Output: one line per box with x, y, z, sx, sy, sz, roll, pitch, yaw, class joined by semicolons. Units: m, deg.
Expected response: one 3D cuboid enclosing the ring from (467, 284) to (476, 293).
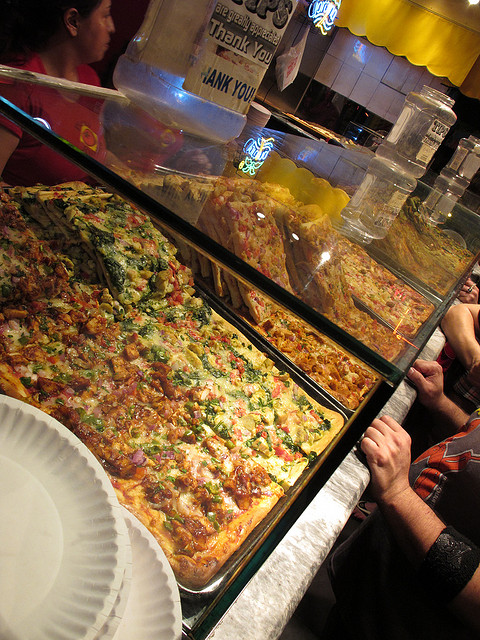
1.479;-0.199;2.875;0.029;0.082;0.029;43;-24;25;ring

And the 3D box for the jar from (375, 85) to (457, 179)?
0.582;-0.615;1.471;0.175;0.270;0.150;7;32;-38;jar
